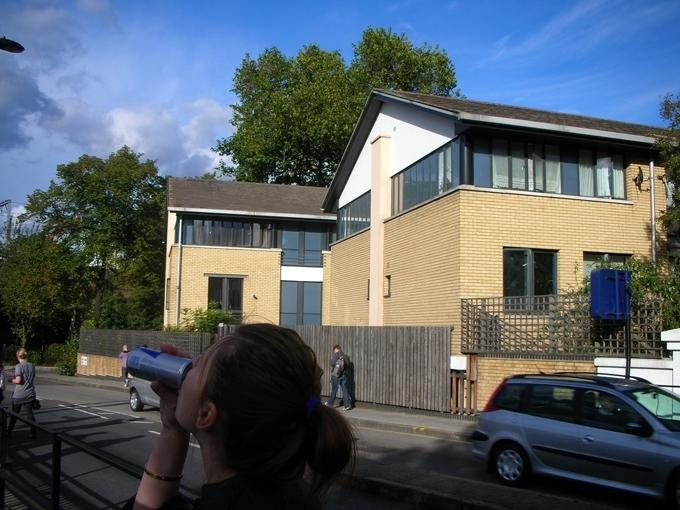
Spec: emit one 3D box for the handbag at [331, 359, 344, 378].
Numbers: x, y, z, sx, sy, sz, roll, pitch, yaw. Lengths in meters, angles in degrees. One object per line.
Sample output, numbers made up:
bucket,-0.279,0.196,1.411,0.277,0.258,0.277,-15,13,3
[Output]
handbag,-0.072,3.291,18.190,0.314,0.472,0.258,24,-12,-1
